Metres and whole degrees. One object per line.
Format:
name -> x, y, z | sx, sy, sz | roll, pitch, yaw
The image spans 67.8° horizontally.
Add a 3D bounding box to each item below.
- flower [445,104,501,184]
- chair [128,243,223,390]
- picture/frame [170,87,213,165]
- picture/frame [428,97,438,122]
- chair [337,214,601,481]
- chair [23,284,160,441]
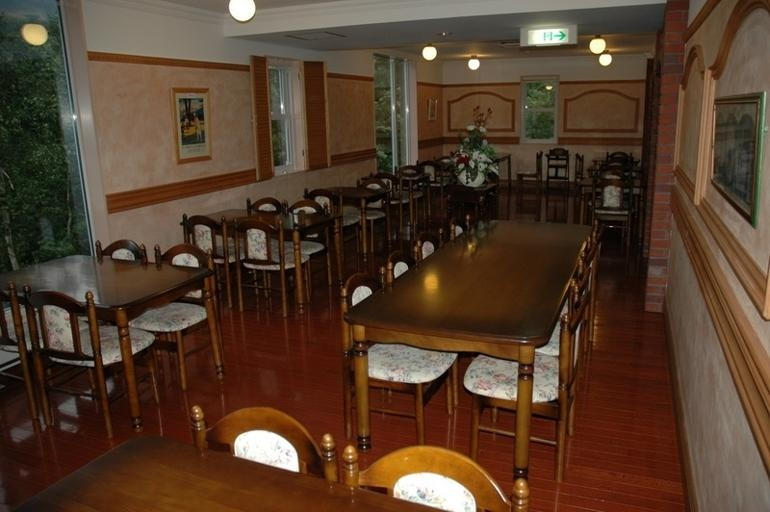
flower -> 1.322, -1.557, 8.516 | 0.676, 1.061, 0.735 | -1, 20, 16
chair -> -1.850, 0.506, 4.851 | 0.836, 1.053, 0.797 | -8, 14, -25
picture/frame -> -2.369, -1.586, 6.943 | 0.069, 1.057, 0.821 | 6, 16, 25
picture/frame -> 1.122, -3.529, 13.768 | 0.068, 0.614, 0.664 | 3, 10, 21
chair -> 0.760, 0.633, 4.544 | 1.329, 1.150, 2.176 | 6, 17, 22
chair -> -2.211, 0.791, 4.303 | 0.797, 1.222, 0.804 | 6, 22, 11
